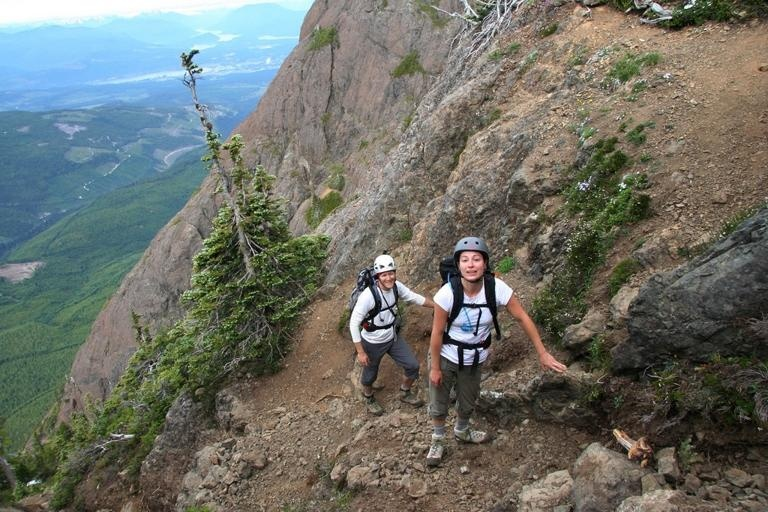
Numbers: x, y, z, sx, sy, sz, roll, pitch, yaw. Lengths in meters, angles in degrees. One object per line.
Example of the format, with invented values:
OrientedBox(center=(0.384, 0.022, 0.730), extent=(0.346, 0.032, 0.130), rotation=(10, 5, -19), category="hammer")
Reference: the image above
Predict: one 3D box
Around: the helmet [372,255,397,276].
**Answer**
OrientedBox(center=(0.025, 0.251, 16.540), extent=(0.463, 0.620, 0.576), rotation=(-4, 77, -7), category="helmet")
